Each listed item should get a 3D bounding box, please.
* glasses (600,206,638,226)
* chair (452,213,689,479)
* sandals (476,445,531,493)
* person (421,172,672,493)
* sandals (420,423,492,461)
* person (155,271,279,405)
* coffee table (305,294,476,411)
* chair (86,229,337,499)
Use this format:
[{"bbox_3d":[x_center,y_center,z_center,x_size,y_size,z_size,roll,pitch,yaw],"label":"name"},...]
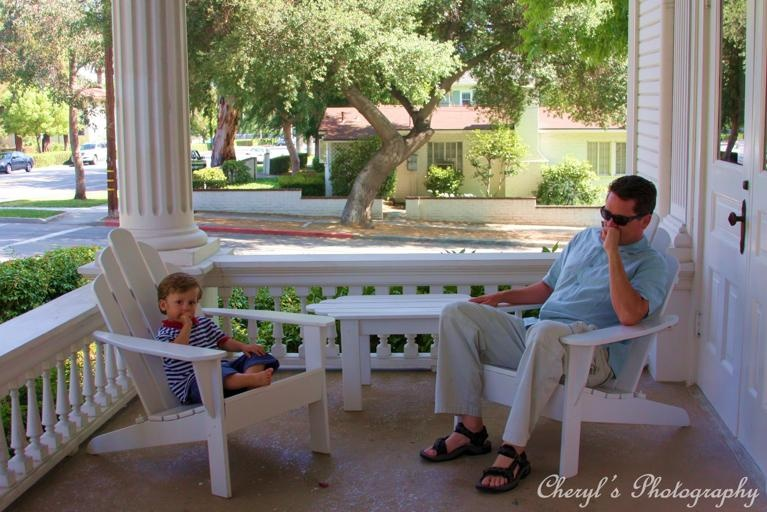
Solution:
[{"bbox_3d":[1.408,-0.236,4.036,0.210,0.112,0.102,4,15,21],"label":"glasses"},{"bbox_3d":[1.319,0.512,4.354,1.164,1.154,0.991,-1,5,-23],"label":"chair"},{"bbox_3d":[0.712,1.231,3.985,0.182,0.233,0.515,11,6,29],"label":"sandals"},{"bbox_3d":[1.040,0.398,4.167,1.405,1.776,1.150,4,3,-25],"label":"person"},{"bbox_3d":[0.461,1.184,4.289,0.440,0.218,0.188,-1,-2,-7],"label":"sandals"},{"bbox_3d":[-1.075,0.545,4.167,0.571,0.743,0.729,-11,13,-43],"label":"person"},{"bbox_3d":[0.011,0.800,5.043,0.947,0.580,0.889,-1,1,-3],"label":"coffee table"},{"bbox_3d":[-1.164,0.622,4.199,1.381,1.375,1.225,3,6,22],"label":"chair"}]
